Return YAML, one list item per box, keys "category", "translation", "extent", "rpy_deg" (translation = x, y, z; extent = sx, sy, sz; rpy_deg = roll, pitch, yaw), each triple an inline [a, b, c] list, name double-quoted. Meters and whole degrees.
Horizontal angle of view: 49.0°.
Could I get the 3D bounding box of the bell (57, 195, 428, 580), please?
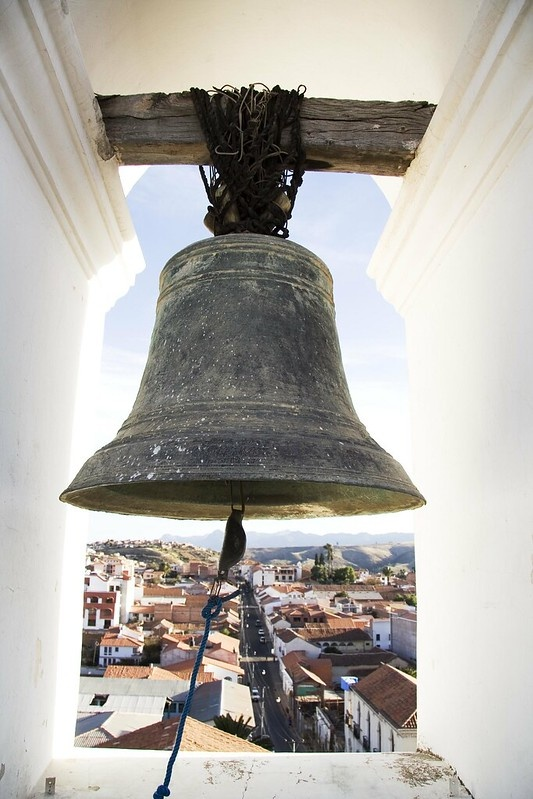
- category: "bell"
  translation: [-0.048, -0.011, 1.174]
  extent: [0.660, 0.655, 0.633]
  rpy_deg: [0, -32, 0]
